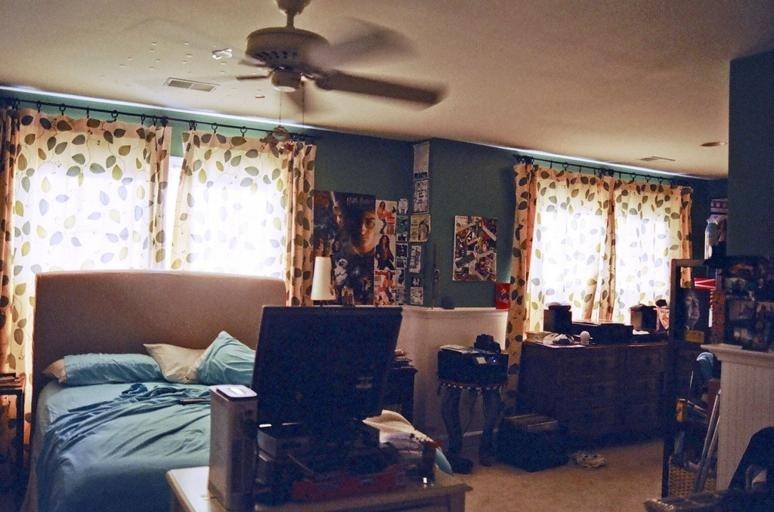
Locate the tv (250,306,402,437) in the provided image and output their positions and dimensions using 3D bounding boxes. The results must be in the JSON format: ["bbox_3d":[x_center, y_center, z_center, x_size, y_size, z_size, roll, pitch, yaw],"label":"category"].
[{"bbox_3d":[-0.392,0.535,3.622,0.875,0.815,0.656,4,7,-17],"label":"tv"}]

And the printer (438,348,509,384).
[{"bbox_3d":[0.834,1.101,6.350,0.463,0.276,0.451,3,-7,-25],"label":"printer"}]

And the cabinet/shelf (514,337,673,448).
[{"bbox_3d":[2.405,1.576,7.191,2.084,1.317,1.110,2,-3,-24],"label":"cabinet/shelf"}]

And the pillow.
[{"bbox_3d":[-2.143,0.980,5.632,1.844,0.388,0.678,1,1,0],"label":"pillow"}]

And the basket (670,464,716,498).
[{"bbox_3d":[2.637,1.985,5.205,0.155,0.334,0.433,1,1,-8],"label":"basket"}]

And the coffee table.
[{"bbox_3d":[0.889,1.764,6.507,0.560,0.872,0.971,2,1,27],"label":"coffee table"}]
